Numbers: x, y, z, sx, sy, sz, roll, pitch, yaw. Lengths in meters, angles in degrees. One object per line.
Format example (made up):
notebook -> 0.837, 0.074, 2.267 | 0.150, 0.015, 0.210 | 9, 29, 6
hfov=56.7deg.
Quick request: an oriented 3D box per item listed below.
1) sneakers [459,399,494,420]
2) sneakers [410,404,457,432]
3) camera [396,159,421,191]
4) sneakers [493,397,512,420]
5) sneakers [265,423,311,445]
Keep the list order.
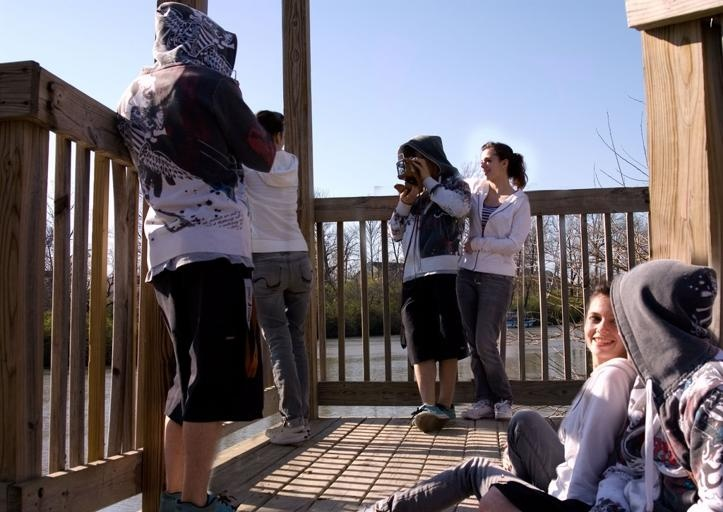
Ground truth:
sneakers -> 0.729, 0.977, 4.241 | 0.207, 0.114, 0.094 | 2, -1, -5
sneakers -> 0.429, 0.969, 4.006 | 0.294, 0.114, 0.125 | 16, 14, -47
camera -> 0.284, -0.539, 4.278 | 0.159, 0.161, 0.220 | -4, 21, -8
sneakers -> 0.855, 0.940, 4.083 | 0.074, 0.100, 0.221 | -1, -23, 4
sneakers -> -0.444, 0.999, 3.799 | 0.286, 0.139, 0.109 | -2, -3, 20
